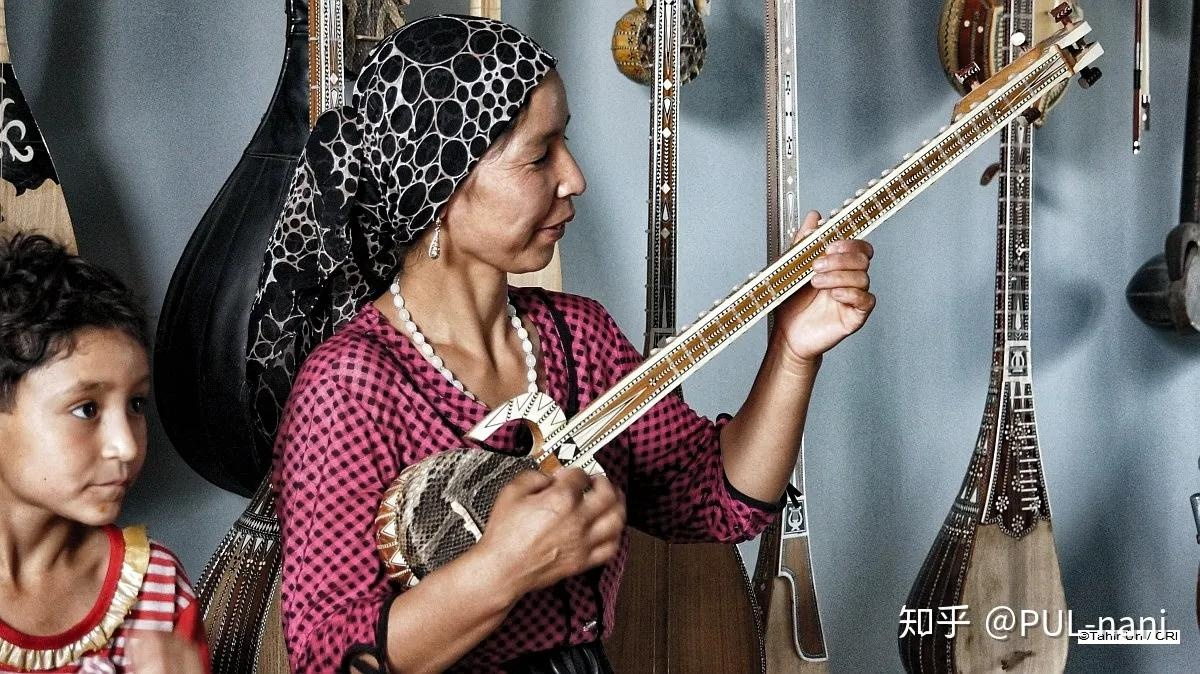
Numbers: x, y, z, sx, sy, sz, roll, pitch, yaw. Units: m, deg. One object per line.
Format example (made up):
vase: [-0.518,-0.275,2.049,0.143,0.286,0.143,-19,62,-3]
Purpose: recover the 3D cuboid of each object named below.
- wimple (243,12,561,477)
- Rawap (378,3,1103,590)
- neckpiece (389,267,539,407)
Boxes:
wimple: [-0.674,-0.246,3.653,0.545,1.373,0.660,15,13,-45]
Rawap: [0.435,-0.173,4.218,3.433,0.823,0.394,-36,13,-11]
neckpiece: [-0.414,0.004,3.468,0.318,0.414,0.054,-26,0,-39]
